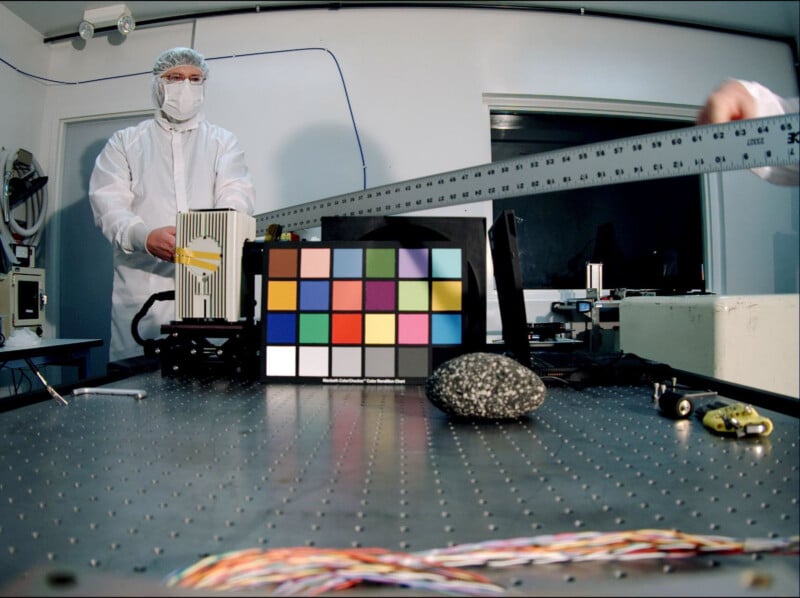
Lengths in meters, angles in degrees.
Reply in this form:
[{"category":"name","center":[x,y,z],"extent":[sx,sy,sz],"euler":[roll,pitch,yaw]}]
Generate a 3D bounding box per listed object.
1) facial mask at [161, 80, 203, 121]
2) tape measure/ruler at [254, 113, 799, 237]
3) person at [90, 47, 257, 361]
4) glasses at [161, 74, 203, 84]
[{"category":"facial mask","center":[-0.866,-0.768,2.588],"extent":[0.116,0.132,0.150],"euler":[-4,27,-23]},{"category":"tape measure/ruler","center":[0.346,-0.301,1.578],"extent":[1.065,0.193,0.056],"euler":[3,7,29]},{"category":"person","center":[-0.941,-0.155,2.683],"extent":[0.558,1.636,0.617],"euler":[4,7,25]},{"category":"glasses","center":[-0.864,-0.851,2.563],"extent":[0.148,0.031,0.050],"euler":[-4,8,-21]}]
